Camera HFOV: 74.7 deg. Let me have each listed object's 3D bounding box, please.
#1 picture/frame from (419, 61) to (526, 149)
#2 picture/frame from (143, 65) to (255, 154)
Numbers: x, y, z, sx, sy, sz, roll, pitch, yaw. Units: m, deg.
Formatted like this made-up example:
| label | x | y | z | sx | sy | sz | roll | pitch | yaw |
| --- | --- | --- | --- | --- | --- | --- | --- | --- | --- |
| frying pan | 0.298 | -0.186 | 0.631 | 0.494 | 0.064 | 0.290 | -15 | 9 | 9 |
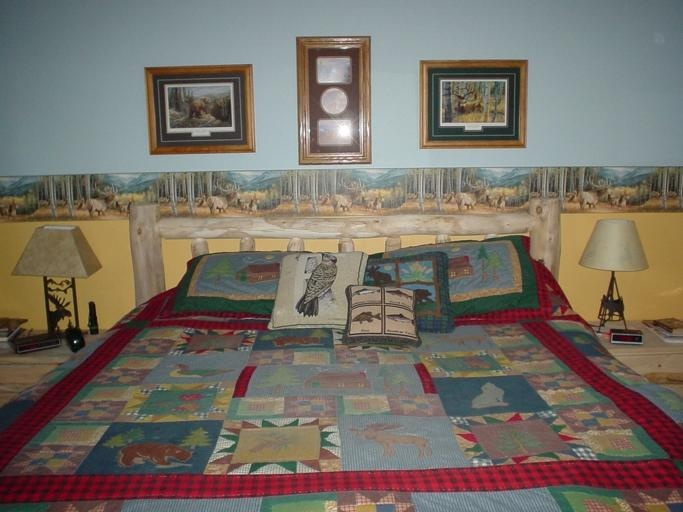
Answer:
| label | x | y | z | sx | sy | sz | roll | pitch | yaw |
| --- | --- | --- | --- | --- | --- | --- | --- | --- | --- |
| picture/frame | 0.791 | -0.930 | 2.687 | 0.603 | 0.382 | 0.039 | 0 | 6 | 0 |
| picture/frame | -0.847 | -0.898 | 2.677 | 0.631 | 0.419 | 0.046 | -1 | 8 | 2 |
